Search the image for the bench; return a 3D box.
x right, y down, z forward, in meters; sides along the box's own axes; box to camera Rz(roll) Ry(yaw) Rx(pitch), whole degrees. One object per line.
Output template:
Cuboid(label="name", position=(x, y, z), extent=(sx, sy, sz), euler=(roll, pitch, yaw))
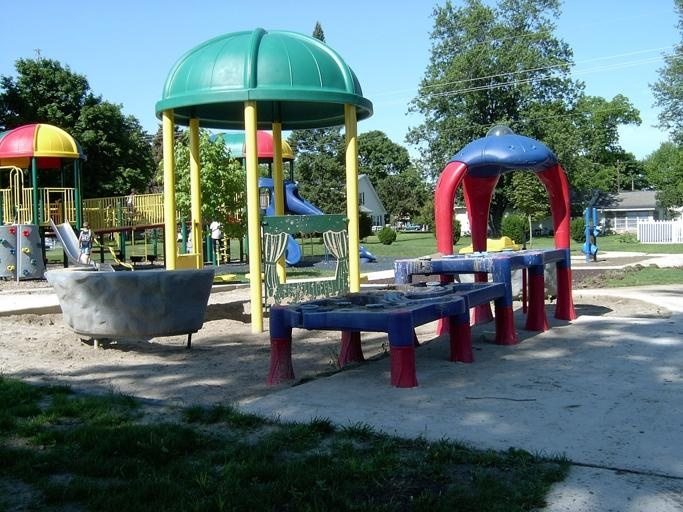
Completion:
Cuboid(label="bench", position=(-2.900, 0.667, 9.712), extent=(1.706, 0.786, 1.438), euler=(0, 0, 38))

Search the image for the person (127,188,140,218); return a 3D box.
Cuboid(label="person", position=(-7.929, -1.950, 25.111), extent=(0.389, 1.103, 2.473), euler=(-3, 3, -18))
